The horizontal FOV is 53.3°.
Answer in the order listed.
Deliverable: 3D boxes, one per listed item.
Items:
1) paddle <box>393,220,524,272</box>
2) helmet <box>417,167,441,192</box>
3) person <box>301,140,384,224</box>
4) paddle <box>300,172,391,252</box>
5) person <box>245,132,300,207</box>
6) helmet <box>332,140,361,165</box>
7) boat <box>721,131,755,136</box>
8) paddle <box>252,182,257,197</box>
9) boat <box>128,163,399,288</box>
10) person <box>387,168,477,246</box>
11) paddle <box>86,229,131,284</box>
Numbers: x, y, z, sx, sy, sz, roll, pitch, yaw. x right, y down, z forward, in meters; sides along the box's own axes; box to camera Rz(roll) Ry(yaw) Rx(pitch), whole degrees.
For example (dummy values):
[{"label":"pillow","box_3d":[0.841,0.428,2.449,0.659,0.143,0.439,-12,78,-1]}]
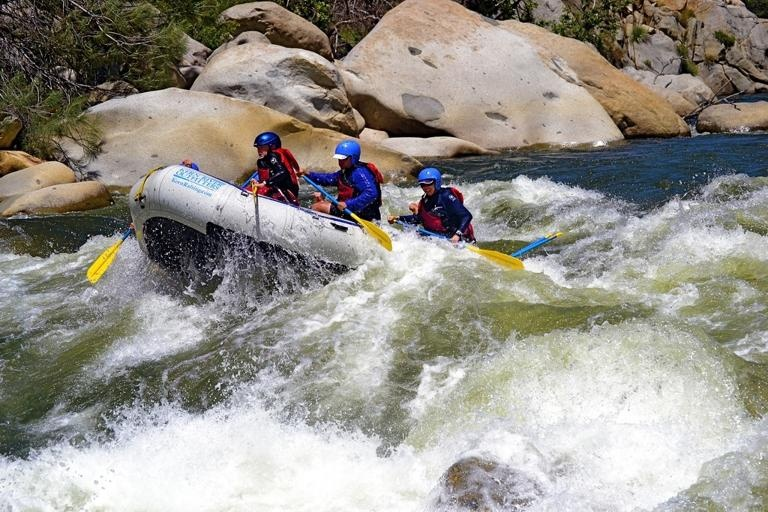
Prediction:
[{"label":"paddle","box_3d":[0.981,-0.132,10.571,1.451,0.203,0.071,24,55,5]},{"label":"helmet","box_3d":[0.662,-1.121,10.807,0.271,0.319,0.355,1,46,11]},{"label":"person","box_3d":[-0.645,-0.929,11.074,1.289,1.508,0.832,4,14,15]},{"label":"paddle","box_3d":[-0.515,-0.594,10.614,2.007,0.161,0.239,39,81,15]},{"label":"person","box_3d":[-1.646,-1.164,11.049,0.861,1.236,0.777,0,15,13]},{"label":"helmet","box_3d":[-0.529,-1.482,10.962,0.404,0.307,0.308,-15,19,-24]},{"label":"boat","box_3d":[8.671,-2.984,18.523,0.377,0.148,0.500,-1,7,14]},{"label":"paddle","box_3d":[-1.700,-0.877,9.995,0.056,0.168,0.117,1,-3,12]},{"label":"boat","box_3d":[-1.817,-0.455,10.203,2.547,1.557,0.916,28,77,-13]},{"label":"person","box_3d":[0.708,-0.398,10.932,1.170,1.697,0.953,-6,6,-15]},{"label":"paddle","box_3d":[-3.833,0.028,10.642,0.239,0.106,0.942,39,62,11]}]
